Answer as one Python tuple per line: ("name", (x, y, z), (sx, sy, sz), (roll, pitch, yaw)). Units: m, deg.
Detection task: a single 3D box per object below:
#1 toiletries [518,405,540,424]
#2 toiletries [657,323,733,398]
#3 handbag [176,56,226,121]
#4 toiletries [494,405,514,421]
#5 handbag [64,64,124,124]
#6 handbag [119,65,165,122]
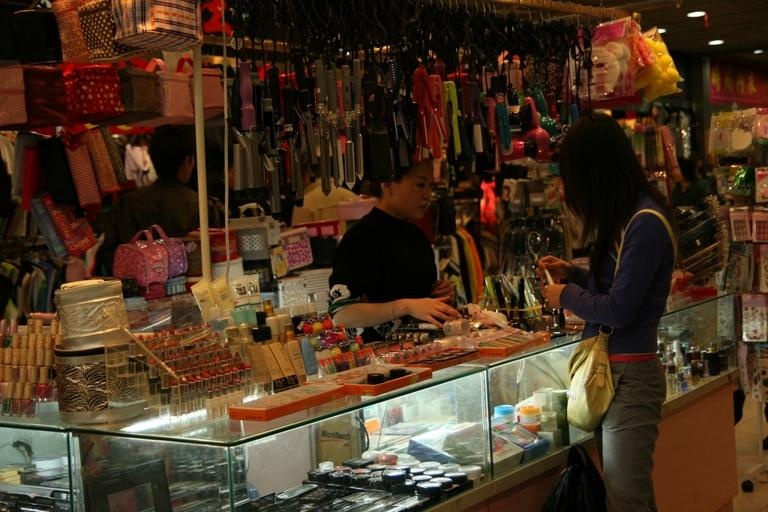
("toiletries", (0.699, 0.750, 3.015), (0.089, 0.065, 0.093), (-2, 3, 13))
("toiletries", (1.901, 0.649, 3.859), (0.625, 0.553, 0.209), (-5, 4, -43))
("handbag", (-1.108, -1.060, 3.784), (0.250, 0.413, 0.545), (-6, 2, -20))
("toiletries", (0.554, 0.718, 2.894), (0.092, 0.076, 0.096), (-1, -5, 40))
("handbag", (-1.711, -0.945, 3.652), (0.313, 0.325, 0.326), (3, 4, 33))
("handbag", (-1.421, -0.917, 3.768), (0.246, 0.318, 0.321), (-4, -2, 39))
